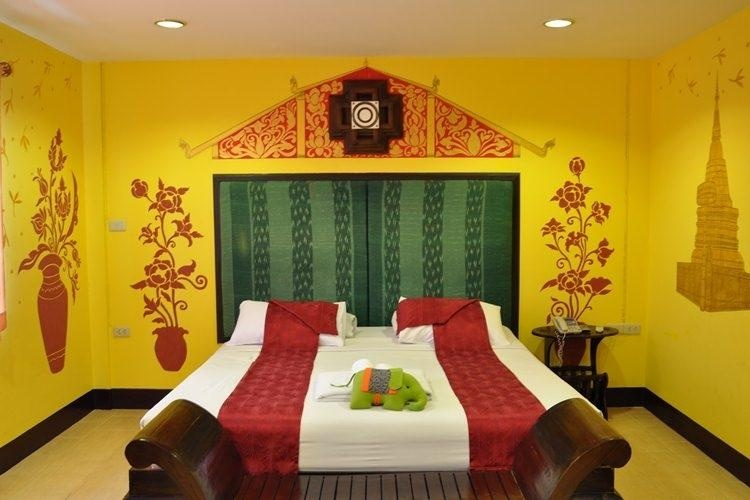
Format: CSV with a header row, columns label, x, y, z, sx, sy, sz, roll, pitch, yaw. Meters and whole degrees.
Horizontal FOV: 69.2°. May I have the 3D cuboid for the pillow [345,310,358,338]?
label,x,y,z,sx,sy,sz,roll,pitch,yaw
pillow,-0.233,0.741,5.327,0.057,0.185,0.166,-4,-13,21

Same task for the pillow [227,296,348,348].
label,x,y,z,sx,sy,sz,roll,pitch,yaw
pillow,-0.903,0.672,5.434,1.070,0.276,0.850,-2,17,-4

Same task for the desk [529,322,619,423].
label,x,y,z,sx,sy,sz,roll,pitch,yaw
desk,2.006,1.200,5.453,0.894,0.975,0.895,-2,2,8

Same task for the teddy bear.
label,x,y,z,sx,sy,sz,roll,pitch,yaw
teddy bear,0.105,1.013,3.959,0.483,0.229,0.277,3,-13,1

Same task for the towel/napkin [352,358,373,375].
label,x,y,z,sx,sy,sz,roll,pitch,yaw
towel/napkin,-0.099,0.889,4.186,0.113,0.109,0.114,-1,0,28

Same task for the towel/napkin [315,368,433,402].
label,x,y,z,sx,sy,sz,roll,pitch,yaw
towel/napkin,-0.106,1.017,4.092,0.616,0.083,0.331,1,6,-3

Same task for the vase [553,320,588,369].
label,x,y,z,sx,sy,sz,roll,pitch,yaw
vase,1.932,0.892,5.429,0.434,0.464,0.446,1,10,21
